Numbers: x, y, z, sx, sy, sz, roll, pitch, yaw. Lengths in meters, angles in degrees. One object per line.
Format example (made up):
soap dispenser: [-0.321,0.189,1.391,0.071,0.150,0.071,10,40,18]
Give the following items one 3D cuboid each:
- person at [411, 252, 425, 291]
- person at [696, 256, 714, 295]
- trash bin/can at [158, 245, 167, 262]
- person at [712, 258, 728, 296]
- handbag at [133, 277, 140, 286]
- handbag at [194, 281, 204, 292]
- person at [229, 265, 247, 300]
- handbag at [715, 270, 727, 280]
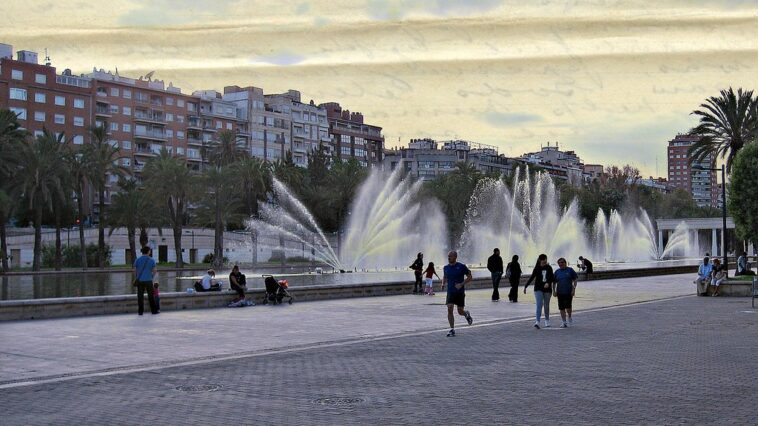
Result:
person: [2.568,3.894,61.751,0.702,2.538,1.221,-1,-3,1]
person: [20.945,3.984,61.114,1.026,2.488,1.411,-2,-3,18]
trash bin/can: [-26.376,4.942,116.467,0.812,1.995,1.567,-2,-3,17]
person: [21.796,4.084,60.899,0.900,2.338,1.369,-2,-3,22]
handbag: [-13.174,3.773,51.811,0.352,0.411,0.583,0,-3,-14]
handbag: [-10.662,4.303,55.958,0.669,0.517,0.511,-1,-3,19]
person: [-8.189,4.065,55.651,0.919,2.026,1.513,-1,-3,-6]
handbag: [21.960,3.969,60.997,0.751,0.429,0.902,-1,-6,6]
